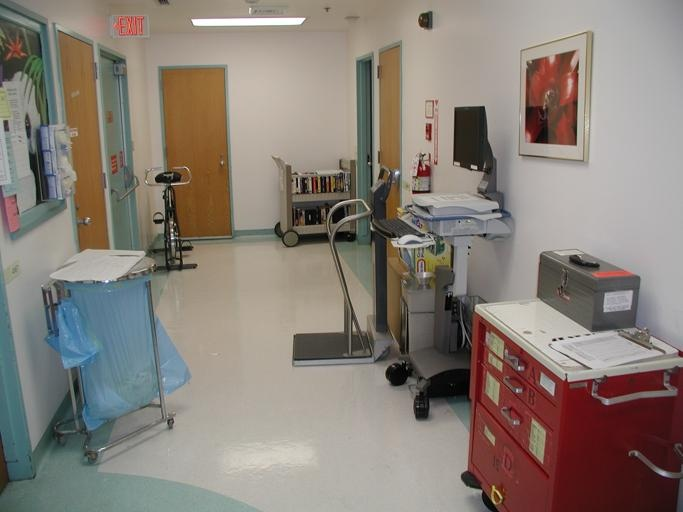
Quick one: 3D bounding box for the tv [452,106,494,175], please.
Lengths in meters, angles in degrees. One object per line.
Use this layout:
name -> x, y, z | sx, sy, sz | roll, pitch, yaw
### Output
tv -> 0.997, -0.876, 3.720 | 0.164, 0.461, 0.484 | -4, 15, -8

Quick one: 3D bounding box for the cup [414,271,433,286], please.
cup -> 0.656, 0.181, 3.977 | 0.101, 0.053, 0.107 | -2, 9, 0

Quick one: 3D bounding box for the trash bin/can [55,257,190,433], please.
trash bin/can -> -1.438, 0.554, 3.319 | 0.742, 0.829, 0.527 | -15, 7, -31

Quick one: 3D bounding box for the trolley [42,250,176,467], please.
trolley -> -1.530, 0.624, 3.333 | 0.666, 1.157, 0.863 | 2, 10, 29

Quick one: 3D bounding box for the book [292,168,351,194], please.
book -> -0.310, -1.129, 7.772 | 0.909, 0.328, 0.253 | -4, 12, -8

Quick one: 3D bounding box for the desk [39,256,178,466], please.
desk -> -1.456, 0.647, 3.309 | 0.802, 1.184, 0.707 | -9, 6, -27

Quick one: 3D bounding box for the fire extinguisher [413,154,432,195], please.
fire extinguisher -> 0.797, -0.829, 5.050 | 0.147, 0.391, 0.266 | -4, 12, -9

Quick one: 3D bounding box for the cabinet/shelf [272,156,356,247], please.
cabinet/shelf -> -0.326, -0.964, 7.981 | 1.192, 1.365, 0.745 | -3, 25, -8

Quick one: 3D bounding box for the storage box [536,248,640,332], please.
storage box -> 1.234, 0.159, 2.568 | 0.234, 0.293, 0.482 | -4, 16, -9
